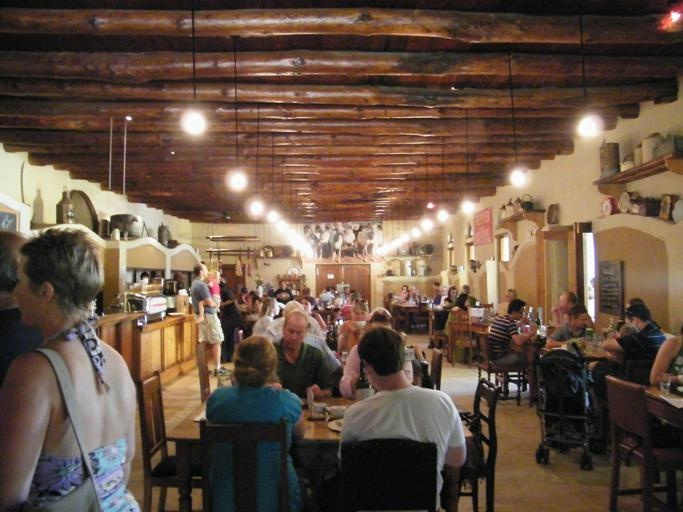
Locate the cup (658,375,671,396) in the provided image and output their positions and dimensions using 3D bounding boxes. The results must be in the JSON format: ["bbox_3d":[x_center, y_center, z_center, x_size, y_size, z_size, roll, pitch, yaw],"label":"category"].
[{"bbox_3d":[2.996,1.187,5.404,0.117,0.202,0.119,1,0,0],"label":"cup"}]

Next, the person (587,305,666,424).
[{"bbox_3d":[3.232,1.258,6.667,0.773,1.408,0.578,0,-10,34],"label":"person"}]

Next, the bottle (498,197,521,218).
[{"bbox_3d":[3.322,-0.947,11.539,0.430,0.462,0.257,-1,1,-42],"label":"bottle"}]

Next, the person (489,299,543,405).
[{"bbox_3d":[2.543,1.339,8.526,0.736,1.405,0.593,-1,-2,-6],"label":"person"}]

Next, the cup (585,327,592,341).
[{"bbox_3d":[3.217,1.012,7.615,0.110,0.182,0.106,4,-8,0],"label":"cup"}]

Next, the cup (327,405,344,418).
[{"bbox_3d":[-0.052,1.305,4.905,0.118,0.051,0.087,0,-9,-8],"label":"cup"}]

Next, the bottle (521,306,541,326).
[{"bbox_3d":[3.107,0.975,9.571,0.277,0.553,0.290,0,-8,0],"label":"bottle"}]
